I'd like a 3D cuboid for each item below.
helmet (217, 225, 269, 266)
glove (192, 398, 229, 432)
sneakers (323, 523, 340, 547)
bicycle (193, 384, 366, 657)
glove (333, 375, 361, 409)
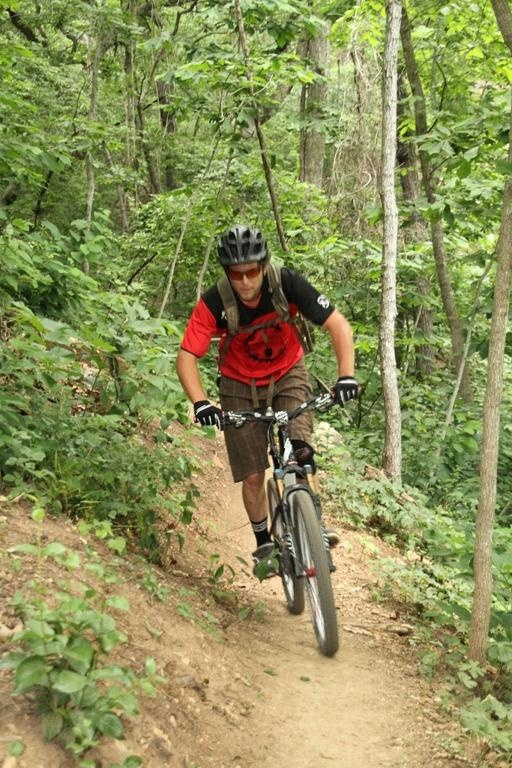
[{"bbox_3d":[-0.065,-0.761,3.920,0.211,0.235,0.263,-2,11,4],"label":"helmet"},{"bbox_3d":[-0.269,0.165,3.897,0.133,0.127,0.234,-5,13,-43],"label":"glove"},{"bbox_3d":[0.510,1.042,4.863,0.097,0.122,0.272,-27,-20,-9],"label":"sneakers"},{"bbox_3d":[0.177,0.785,4.235,0.801,1.604,1.056,4,10,-2],"label":"bicycle"},{"bbox_3d":[0.506,0.041,3.889,0.127,0.159,0.065,-4,-21,28],"label":"glove"}]
